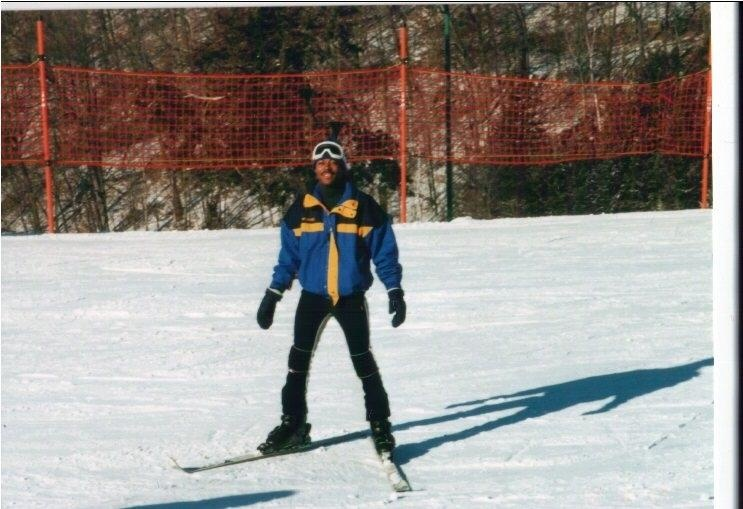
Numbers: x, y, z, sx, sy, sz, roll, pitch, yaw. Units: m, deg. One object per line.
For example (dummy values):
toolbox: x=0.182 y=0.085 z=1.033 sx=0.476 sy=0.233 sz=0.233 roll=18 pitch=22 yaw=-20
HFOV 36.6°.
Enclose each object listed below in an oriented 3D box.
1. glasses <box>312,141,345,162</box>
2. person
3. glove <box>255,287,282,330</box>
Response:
glasses: x=-0.403 y=-0.932 z=10.359 sx=0.234 sy=0.219 sz=0.108 roll=-1 pitch=47 yaw=-1
person: x=-0.391 y=0.431 z=10.338 sx=1.389 sy=2.940 sz=0.447 roll=-7 pitch=7 yaw=2
glove: x=-0.968 y=0.520 z=10.455 sx=0.262 sy=0.370 sz=0.170 roll=25 pitch=-4 yaw=-10
